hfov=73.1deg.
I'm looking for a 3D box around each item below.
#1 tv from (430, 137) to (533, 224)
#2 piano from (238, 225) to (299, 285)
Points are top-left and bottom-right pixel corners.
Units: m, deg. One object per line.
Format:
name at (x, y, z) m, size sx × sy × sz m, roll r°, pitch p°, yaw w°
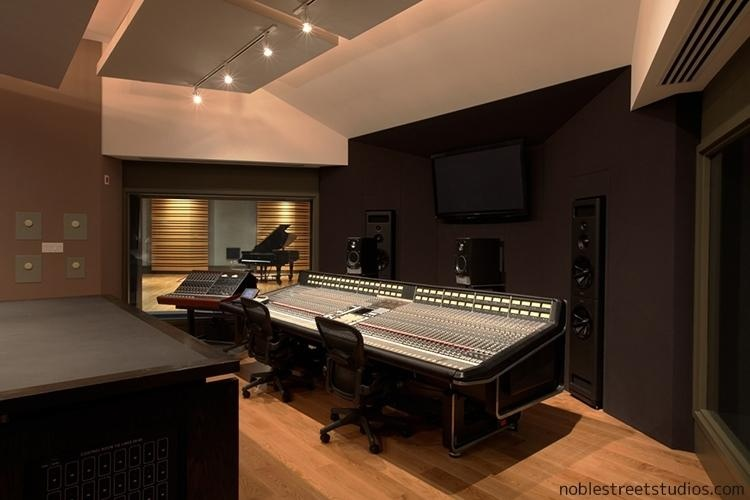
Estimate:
tv at (1.250, -0.814, 6.112) m, size 0.297 × 0.981 × 1.344 m, roll -10°, pitch 16°, yaw -34°
piano at (-1.544, 0.060, 7.358) m, size 0.789 × 0.761 × 0.545 m, roll -4°, pitch 14°, yaw -16°
